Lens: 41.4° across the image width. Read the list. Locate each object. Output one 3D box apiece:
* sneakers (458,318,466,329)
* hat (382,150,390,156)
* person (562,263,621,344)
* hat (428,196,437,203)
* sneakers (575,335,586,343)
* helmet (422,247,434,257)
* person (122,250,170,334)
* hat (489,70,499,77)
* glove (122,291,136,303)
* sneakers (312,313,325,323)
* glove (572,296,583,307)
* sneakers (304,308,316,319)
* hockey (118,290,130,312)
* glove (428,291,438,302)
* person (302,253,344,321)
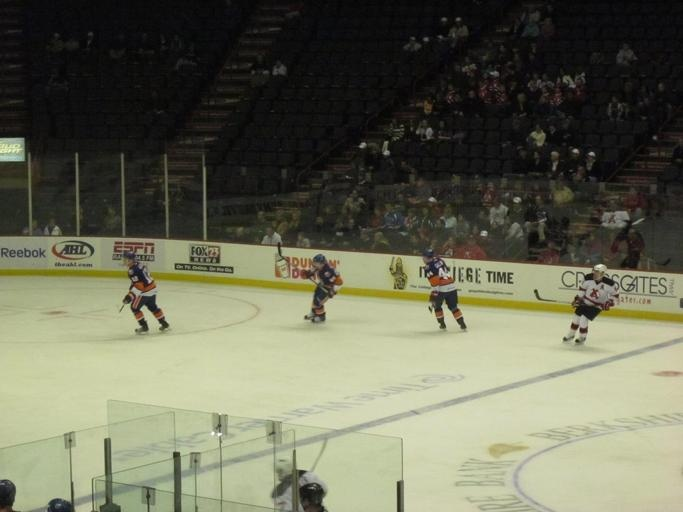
[{"bbox_3d":[2.495,1.358,18.622,0.171,0.263,0.377,1,10,11],"label":"sneakers"},{"bbox_3d":[1.215,-2.807,24.428,0.219,0.077,0.158,0,2,6],"label":"hat"},{"bbox_3d":[4.743,0.887,17.284,0.950,1.539,0.511,0,10,7],"label":"person"},{"bbox_3d":[2.120,-1.323,21.030,0.206,0.166,0.055,1,10,11],"label":"hat"},{"bbox_3d":[4.571,1.569,17.276,0.166,0.143,0.352,-1,-2,23],"label":"sneakers"},{"bbox_3d":[1.844,-0.095,19.234,0.218,0.097,0.302,-3,2,-6],"label":"helmet"},{"bbox_3d":[-4.063,0.709,18.763,0.889,1.619,1.146,-3,10,-12],"label":"person"},{"bbox_3d":[4.424,-5.251,26.063,0.271,0.177,0.307,1,10,7],"label":"hat"},{"bbox_3d":[-4.301,0.821,18.332,0.224,0.257,0.372,-4,10,-18],"label":"glove"},{"bbox_3d":[-0.491,1.312,19.411,0.265,0.242,0.136,1,15,-8],"label":"sneakers"},{"bbox_3d":[4.525,0.863,17.331,0.052,0.190,0.139,25,28,-34],"label":"glove"},{"bbox_3d":[-0.696,1.249,19.531,0.348,0.241,0.127,7,7,41],"label":"sneakers"},{"bbox_3d":[-4.947,1.026,20.561,0.122,0.575,0.179,25,20,-31],"label":"hockey"},{"bbox_3d":[1.896,0.794,18.543,0.147,0.233,0.293,0,10,4],"label":"glove"},{"bbox_3d":[-0.443,0.619,19.816,0.840,1.502,1.203,-1,10,-3],"label":"person"}]
